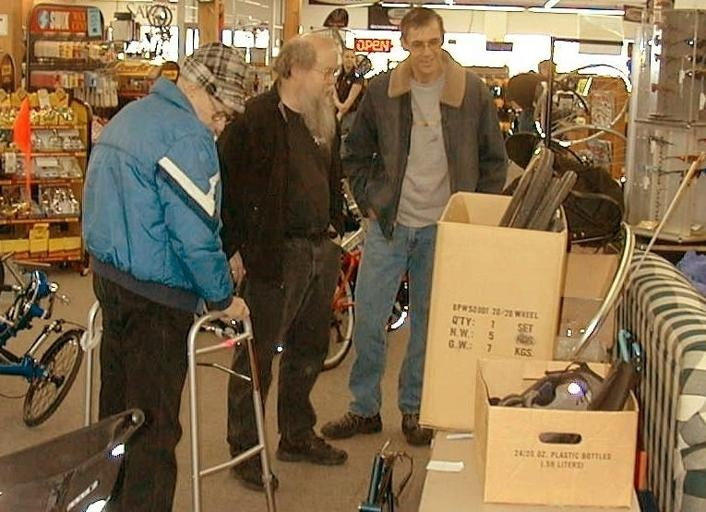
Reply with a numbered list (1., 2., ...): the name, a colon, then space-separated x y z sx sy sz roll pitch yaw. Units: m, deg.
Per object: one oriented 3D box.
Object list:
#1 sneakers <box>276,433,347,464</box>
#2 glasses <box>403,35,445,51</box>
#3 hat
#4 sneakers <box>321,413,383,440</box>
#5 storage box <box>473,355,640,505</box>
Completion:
1. sneakers: -0.239 1.169 4.073 0.435 0.219 0.171 2 4 0
2. glasses: 0.381 -1.125 3.556 0.203 0.077 0.176 2 12 -2
3. hat: -0.580 -0.779 2.868 0.308 0.265 0.251 6 0 -10
4. sneakers: -0.006 1.087 4.332 0.394 0.191 0.152 1 4 -13
5. storage box: 0.579 0.566 2.004 0.390 0.269 0.418 0 18 5
